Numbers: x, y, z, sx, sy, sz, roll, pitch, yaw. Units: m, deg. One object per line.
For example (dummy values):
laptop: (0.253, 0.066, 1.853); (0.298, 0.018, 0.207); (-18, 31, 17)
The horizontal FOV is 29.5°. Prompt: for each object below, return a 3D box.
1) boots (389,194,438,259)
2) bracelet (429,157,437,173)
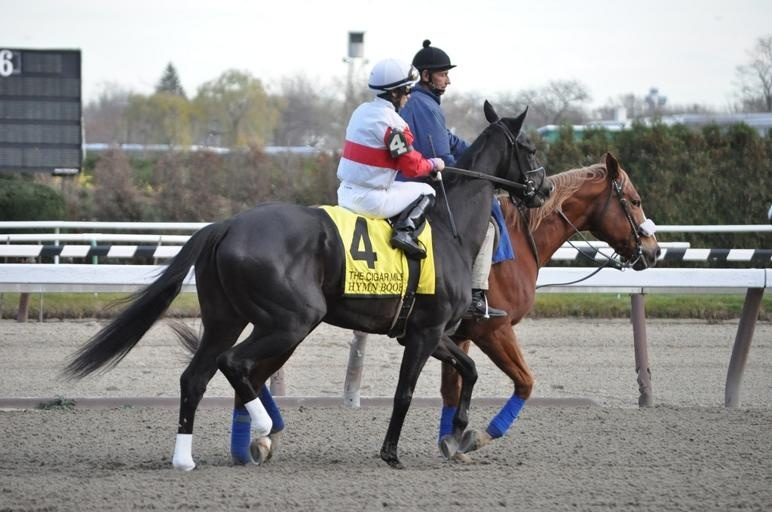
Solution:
boots: (0.237, -0.279, 14.061); (0.456, 0.606, 0.211); (28, -30, -7)
bracelet: (0.461, -0.897, 14.231); (0.091, 0.105, 0.103); (-3, -11, 23)
